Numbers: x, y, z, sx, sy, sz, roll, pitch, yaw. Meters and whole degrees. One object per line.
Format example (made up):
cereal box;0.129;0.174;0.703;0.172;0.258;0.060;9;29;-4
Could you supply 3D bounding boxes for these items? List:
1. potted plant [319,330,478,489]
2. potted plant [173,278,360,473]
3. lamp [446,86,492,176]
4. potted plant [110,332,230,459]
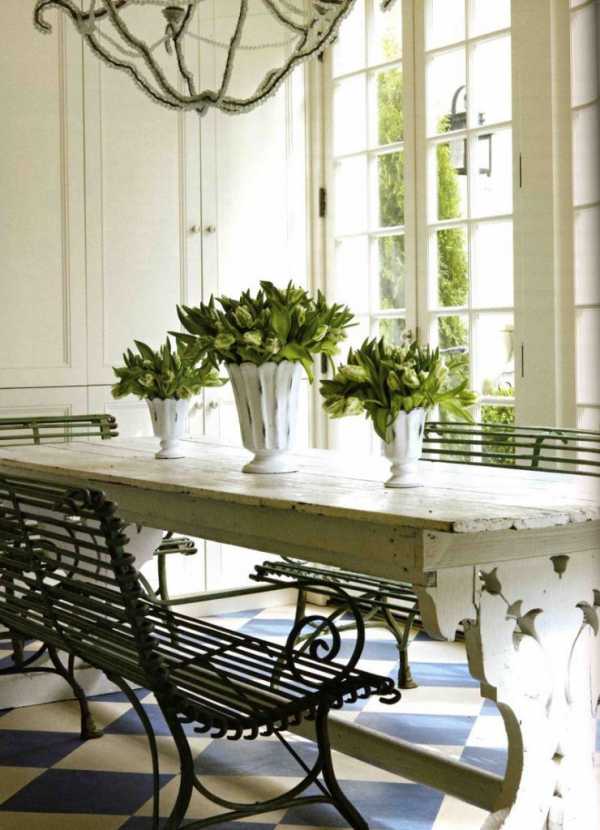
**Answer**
potted plant;0.199;0.011;1.470;0.275;0.285;0.288;-1;-6;10
potted plant;-0.120;-0.077;1.762;0.424;0.435;0.415;0;0;-14
lamp;0.713;-1.224;3.167;0.179;0.347;0.169;-12;38;-13
potted plant;-0.396;-0.044;2.145;0.295;0.303;0.293;-1;-1;-26
